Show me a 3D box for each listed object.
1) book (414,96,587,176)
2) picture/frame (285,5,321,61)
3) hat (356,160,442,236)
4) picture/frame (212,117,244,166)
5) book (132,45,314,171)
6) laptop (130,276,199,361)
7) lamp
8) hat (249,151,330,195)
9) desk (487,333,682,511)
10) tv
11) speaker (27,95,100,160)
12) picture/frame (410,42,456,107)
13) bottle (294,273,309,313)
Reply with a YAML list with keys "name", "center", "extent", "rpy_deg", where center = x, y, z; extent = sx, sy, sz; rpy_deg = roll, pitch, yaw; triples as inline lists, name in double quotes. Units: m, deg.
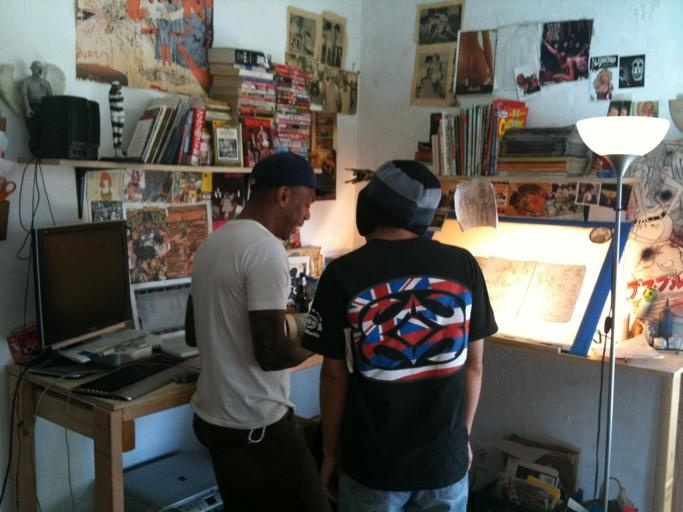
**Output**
- name: "book"
  center: [0.930, -0.621, 3.421]
  extent: [0.871, 0.446, 0.444]
  rpy_deg: [4, 16, 27]
- name: "picture/frame"
  center: [-0.254, -1.415, 3.823]
  extent: [0.355, 0.394, 0.043]
  rpy_deg: [-2, 4, -27]
- name: "hat"
  center: [0.227, -0.205, 2.252]
  extent: [0.312, 0.308, 0.244]
  rpy_deg: [18, 14, 33]
- name: "picture/frame"
  center: [-0.633, -0.619, 3.291]
  extent: [0.029, 0.333, 0.236]
  rpy_deg: [2, 5, 41]
- name: "book"
  center: [-0.678, -0.791, 3.241]
  extent: [0.946, 0.390, 0.914]
  rpy_deg: [-11, 32, -31]
- name: "laptop"
  center: [-0.846, 0.305, 3.147]
  extent: [0.315, 0.392, 0.393]
  rpy_deg: [-8, -2, 34]
- name: "lamp"
  center: [1.290, 0.355, 3.025]
  extent: [0.376, 2.072, 0.652]
  rpy_deg: [8, 11, 26]
- name: "hat"
  center: [-0.167, -0.331, 2.530]
  extent: [0.298, 0.158, 0.230]
  rpy_deg: [4, -10, -6]
- name: "desk"
  center: [1.382, 0.927, 3.294]
  extent: [0.839, 0.859, 0.367]
  rpy_deg: [16, -2, 24]
- name: "tv"
  center: [-1.203, 0.177, 2.768]
  extent: [0.102, 0.686, 0.573]
  rpy_deg: [0, 5, 30]
- name: "speaker"
  center: [-1.275, -0.587, 2.790]
  extent: [0.241, 0.255, 0.270]
  rpy_deg: [1, 7, 2]
- name: "picture/frame"
  center: [0.611, -1.180, 3.911]
  extent: [0.397, 0.485, 0.023]
  rpy_deg: [2, 0, 35]
- name: "bottle"
  center: [-0.207, 0.207, 3.204]
  extent: [0.081, 0.228, 0.080]
  rpy_deg: [4, 17, -1]
